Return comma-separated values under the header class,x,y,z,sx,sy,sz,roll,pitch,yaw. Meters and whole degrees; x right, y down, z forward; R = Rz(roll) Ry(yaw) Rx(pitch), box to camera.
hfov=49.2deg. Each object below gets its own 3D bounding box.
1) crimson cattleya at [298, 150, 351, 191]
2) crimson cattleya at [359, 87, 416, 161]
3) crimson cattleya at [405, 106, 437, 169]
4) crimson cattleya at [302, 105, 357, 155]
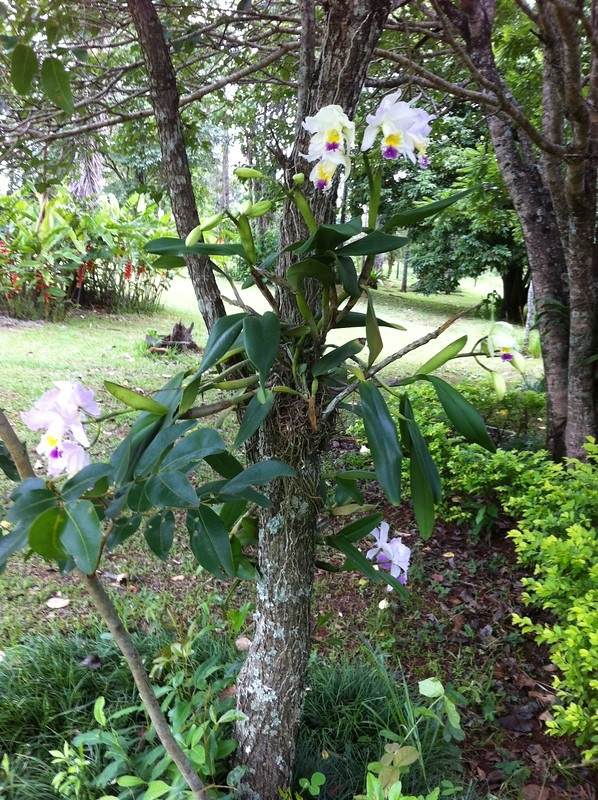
class,x,y,z,sx,sy,sz,roll,pitch,yaw
crimson cattleya,0.059,-0.460,1.303,0.087,0.083,0.035,29,63,9
crimson cattleya,0.187,-0.563,1.348,0.103,0.141,0.160,0,12,11
crimson cattleya,0.263,-0.565,1.389,0.052,0.111,0.109,17,51,3
crimson cattleya,0.068,-0.529,1.282,0.107,0.092,0.042,-5,47,21
